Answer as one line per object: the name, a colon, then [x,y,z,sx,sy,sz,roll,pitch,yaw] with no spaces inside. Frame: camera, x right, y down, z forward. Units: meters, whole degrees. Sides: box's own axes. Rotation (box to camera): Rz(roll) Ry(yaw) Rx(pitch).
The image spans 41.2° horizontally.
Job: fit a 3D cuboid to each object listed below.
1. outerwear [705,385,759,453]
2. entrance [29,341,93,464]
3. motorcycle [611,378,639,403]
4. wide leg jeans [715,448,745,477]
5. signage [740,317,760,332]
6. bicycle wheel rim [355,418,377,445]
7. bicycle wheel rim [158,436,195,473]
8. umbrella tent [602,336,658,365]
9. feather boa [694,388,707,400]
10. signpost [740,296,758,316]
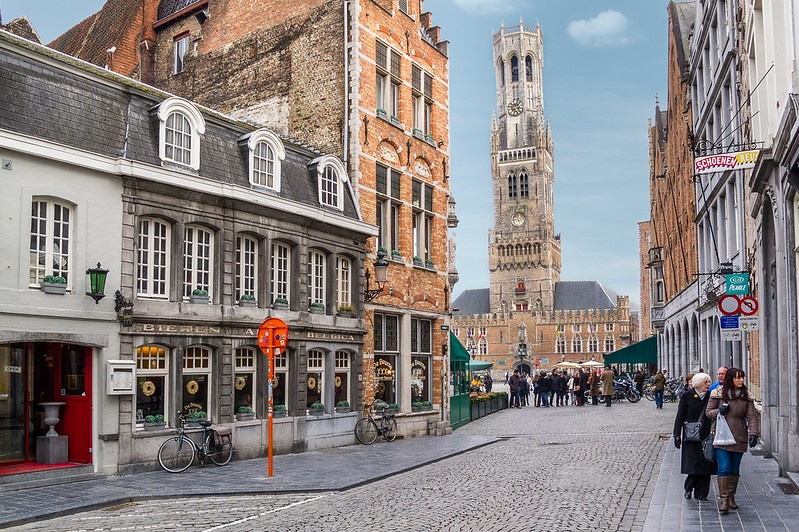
outerwear: [7.633,3.524,24.532,1.466,1.814,1.094,-2,-18,15]
entrance: [-8.923,3.603,28.377,1.979,2.814,0.570,9,1,20]
motorcycle: [11.968,6.466,55.547,1.597,0.904,0.879,-3,-5,16]
wide leg jeans: [7.532,4.487,24.451,0.577,0.653,0.331,9,1,14]
signage: [9.648,1.546,29.349,0.418,0.428,0.294,10,2,44]
bicycle wheel rim: [-1.136,5.465,35.366,0.969,0.872,0.186,-16,11,-33]
bicycle wheel rim: [-6.080,5.090,29.234,1.070,0.931,0.639,8,2,-17]
umbrella tent: [14.138,5.201,63.852,2.005,1.087,2.744,1,-7,6]
feather boa: [7.138,3.017,25.129,0.221,0.149,0.210,2,-3,2]
signpost: [9.623,1.085,29.309,0.448,0.555,0.298,9,1,16]
